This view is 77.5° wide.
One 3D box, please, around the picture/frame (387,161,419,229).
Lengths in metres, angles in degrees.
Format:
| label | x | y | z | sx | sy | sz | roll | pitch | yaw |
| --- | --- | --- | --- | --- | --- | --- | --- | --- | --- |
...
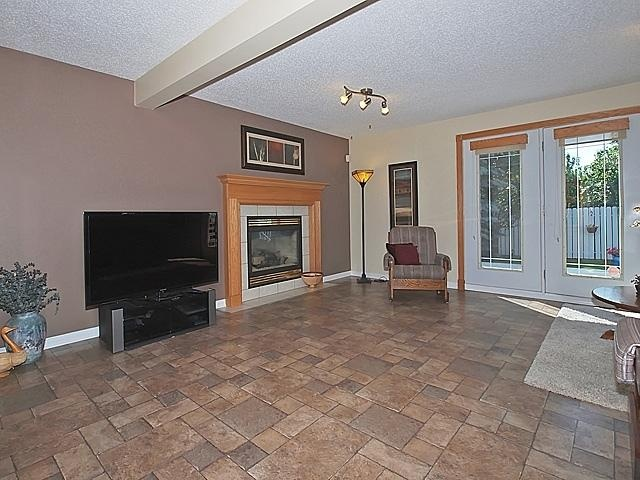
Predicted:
| label | x | y | z | sx | sy | sz | roll | pitch | yaw |
| --- | --- | --- | --- | --- | --- | --- | --- | --- | --- |
| picture/frame | 1.491 | -0.813 | 7.115 | 0.126 | 1.137 | 0.567 | -7 | 5 | -40 |

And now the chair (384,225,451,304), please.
| label | x | y | z | sx | sy | sz | roll | pitch | yaw |
| --- | --- | --- | --- | --- | --- | --- | --- | --- | --- |
| chair | 1.462 | 0.334 | 6.009 | 0.910 | 1.071 | 0.861 | -2 | 4 | 13 |

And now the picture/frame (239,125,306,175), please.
| label | x | y | z | sx | sy | sz | roll | pitch | yaw |
| --- | --- | --- | --- | --- | --- | --- | --- | --- | --- |
| picture/frame | -0.785 | -1.422 | 6.274 | 0.049 | 0.514 | 1.132 | -1 | 1 | 41 |

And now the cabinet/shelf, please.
| label | x | y | z | sx | sy | sz | roll | pitch | yaw |
| --- | --- | --- | --- | --- | --- | --- | --- | --- | --- |
| cabinet/shelf | -1.845 | 0.868 | 4.581 | 1.185 | 0.500 | 0.459 | -5 | 4 | -42 |

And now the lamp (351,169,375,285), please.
| label | x | y | z | sx | sy | sz | roll | pitch | yaw |
| --- | --- | --- | --- | --- | --- | --- | --- | --- | --- |
| lamp | 0.859 | -0.311 | 7.441 | 0.405 | 2.088 | 0.909 | -3 | 4 | 6 |

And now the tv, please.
| label | x | y | z | sx | sy | sz | roll | pitch | yaw |
| --- | --- | --- | --- | --- | --- | --- | --- | --- | --- |
| tv | -1.902 | 0.155 | 4.727 | 0.082 | 0.997 | 1.684 | 10 | 10 | 37 |
